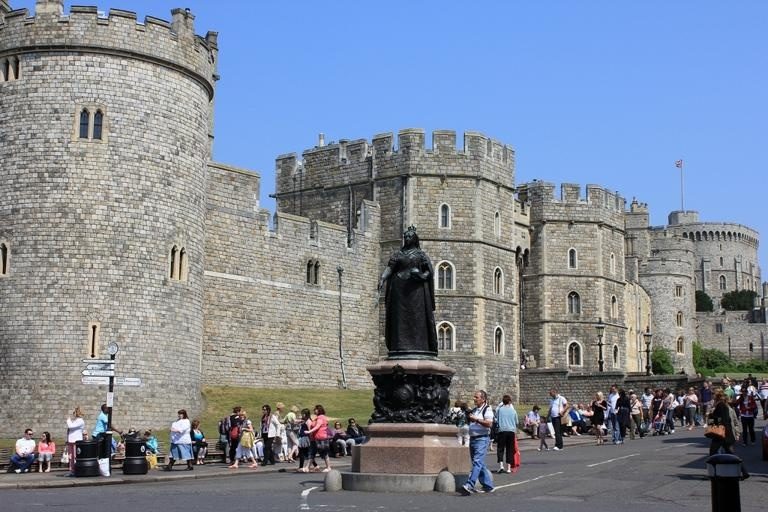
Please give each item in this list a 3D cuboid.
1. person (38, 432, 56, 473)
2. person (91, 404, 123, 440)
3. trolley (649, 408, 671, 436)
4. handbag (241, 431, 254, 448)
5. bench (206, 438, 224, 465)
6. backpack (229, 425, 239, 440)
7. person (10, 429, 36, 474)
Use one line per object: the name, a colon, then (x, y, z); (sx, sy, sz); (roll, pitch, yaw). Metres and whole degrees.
person: (-12.187, 7.083, 50.983); (0.591, 1.503, 1.005); (3, -14, -12)
person: (-10.046, 6.066, 51.361); (0.958, 1.306, 0.875); (3, 9, -30)
trolley: (11.857, 6.994, 59.253); (1.086, 1.213, 0.626); (5, -10, -25)
handbag: (-4.986, 6.670, 51.304); (0.470, 0.606, 0.327); (-2, -13, 8)
bench: (-6.453, 7.364, 53.587); (0.642, 0.929, 1.012); (5, -14, -20)
backpack: (-5.450, 6.406, 51.528); (0.308, 0.423, 0.222); (1, -13, -3)
person: (-12.938, 6.975, 50.735); (0.863, 1.617, 0.924); (3, -14, -14)
